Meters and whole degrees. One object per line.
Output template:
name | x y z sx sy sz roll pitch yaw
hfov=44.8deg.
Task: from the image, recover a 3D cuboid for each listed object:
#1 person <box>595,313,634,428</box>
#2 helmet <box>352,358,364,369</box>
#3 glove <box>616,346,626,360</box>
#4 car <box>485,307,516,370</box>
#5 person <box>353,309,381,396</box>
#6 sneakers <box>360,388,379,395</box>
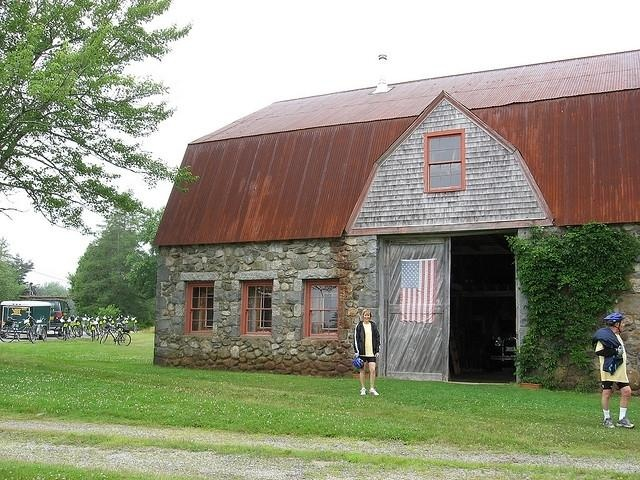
person | 5.988 2.643 15.927 0.796 2.217 0.984 1 1 19
helmet | 0.912 2.892 18.222 0.205 0.294 0.371 1 1 1
glove | 6.092 2.285 15.856 0.209 0.216 0.160 -9 -2 20
car | 6.758 3.716 29.093 1.010 2.089 2.808 1 1 13
person | 1.141 2.681 18.626 0.585 2.052 1.166 1 1 3
sneakers | 1.177 3.587 18.353 0.495 0.222 0.172 -4 0 14
